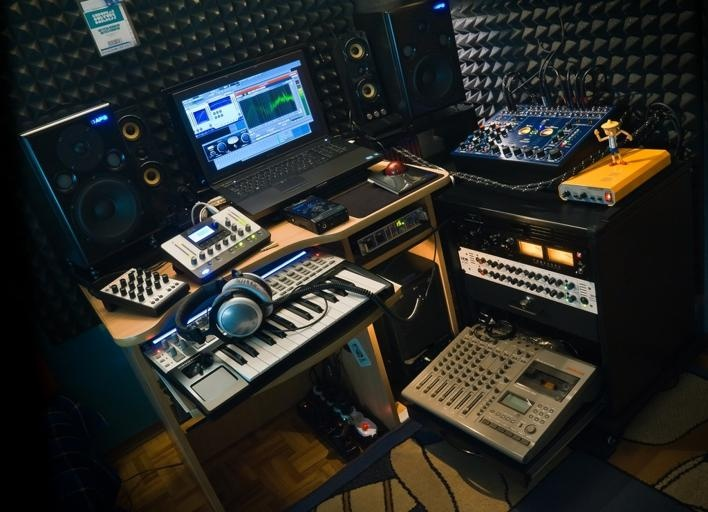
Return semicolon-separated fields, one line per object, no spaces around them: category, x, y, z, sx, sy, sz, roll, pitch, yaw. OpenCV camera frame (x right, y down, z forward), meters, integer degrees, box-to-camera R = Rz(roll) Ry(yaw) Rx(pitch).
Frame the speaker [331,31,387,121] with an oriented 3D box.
speaker;0.020;-0.782;2.482;0.195;0.423;0.167;-16;31;-30

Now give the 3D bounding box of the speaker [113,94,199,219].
speaker;-0.787;-0.363;2.249;0.320;0.542;0.283;-17;30;-42

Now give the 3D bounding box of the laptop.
laptop;-0.295;-0.512;2.241;0.677;0.377;0.543;-31;45;-29

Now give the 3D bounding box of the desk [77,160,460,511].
desk;-0.294;0.281;2.125;1.130;1.016;0.470;-36;45;-25
